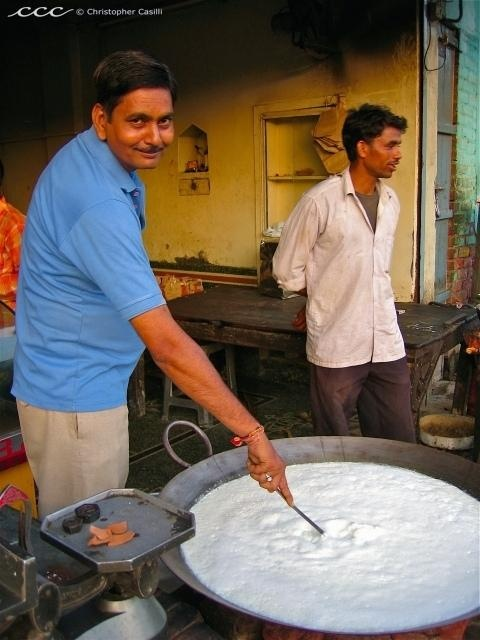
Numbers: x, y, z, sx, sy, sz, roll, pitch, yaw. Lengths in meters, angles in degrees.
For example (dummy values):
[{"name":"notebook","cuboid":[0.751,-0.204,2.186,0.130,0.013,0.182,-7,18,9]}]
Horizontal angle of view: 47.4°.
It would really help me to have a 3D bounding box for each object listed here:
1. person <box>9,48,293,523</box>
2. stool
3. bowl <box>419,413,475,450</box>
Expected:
[{"name":"person","cuboid":[-0.312,-0.033,1.404,0.376,1.209,0.753,-15,15,-42]},{"name":"stool","cuboid":[-0.349,0.538,4.747,0.623,0.546,0.596,-22,1,9]},{"name":"bowl","cuboid":[1.437,0.773,3.802,0.289,0.086,0.260,-7,17,-1]}]
